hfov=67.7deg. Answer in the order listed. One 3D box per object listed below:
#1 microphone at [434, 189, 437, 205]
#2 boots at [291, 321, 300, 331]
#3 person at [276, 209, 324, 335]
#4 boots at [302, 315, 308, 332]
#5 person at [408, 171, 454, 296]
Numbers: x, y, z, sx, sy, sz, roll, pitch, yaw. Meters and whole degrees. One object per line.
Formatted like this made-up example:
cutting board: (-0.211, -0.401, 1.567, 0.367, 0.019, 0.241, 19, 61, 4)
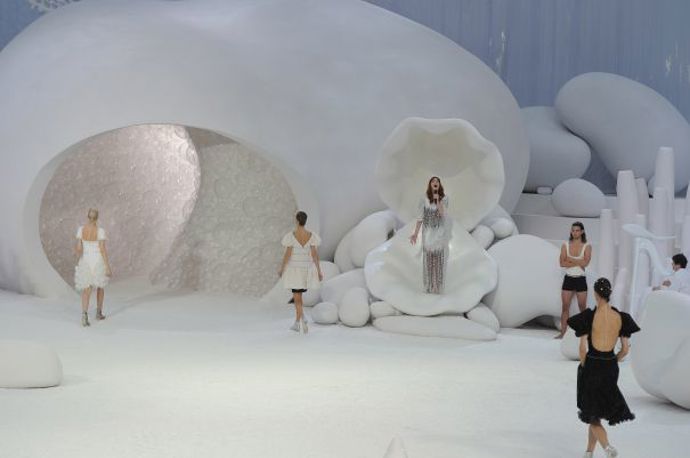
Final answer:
microphone: (1.193, -0.437, 6.779, 0.034, 0.148, 0.036, -4, -5, 9)
boots: (-0.616, 1.223, 6.548, 0.076, 0.136, 0.147, 6, 0, -44)
person: (-0.545, 0.523, 6.452, 0.482, 1.491, 0.364, -2, 6, -9)
boots: (-0.498, 1.186, 6.456, 0.061, 0.217, 0.073, -3, -4, -6)
person: (1.192, 0.067, 7.071, 0.427, 1.573, 0.693, 2, 7, 24)
